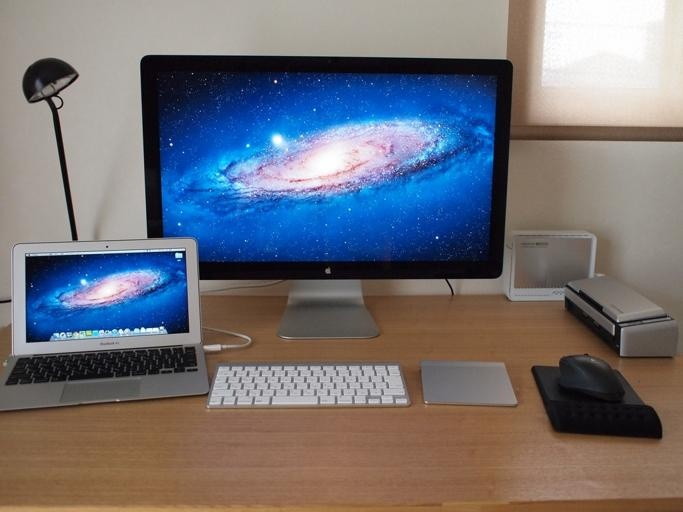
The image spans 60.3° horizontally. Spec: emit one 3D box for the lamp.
[{"bbox_3d":[-0.741,-0.283,1.574,0.130,0.468,0.264,-11,20,-22],"label":"lamp"}]

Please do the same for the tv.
[{"bbox_3d":[-0.047,-0.158,1.421,0.683,0.526,0.207,0,17,-2],"label":"tv"}]

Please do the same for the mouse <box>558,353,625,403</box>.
[{"bbox_3d":[0.518,0.241,1.200,0.073,0.042,0.116,-3,17,-11],"label":"mouse"}]

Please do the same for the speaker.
[{"bbox_3d":[0.578,0.030,1.620,0.180,0.161,0.069,0,17,1],"label":"speaker"}]
